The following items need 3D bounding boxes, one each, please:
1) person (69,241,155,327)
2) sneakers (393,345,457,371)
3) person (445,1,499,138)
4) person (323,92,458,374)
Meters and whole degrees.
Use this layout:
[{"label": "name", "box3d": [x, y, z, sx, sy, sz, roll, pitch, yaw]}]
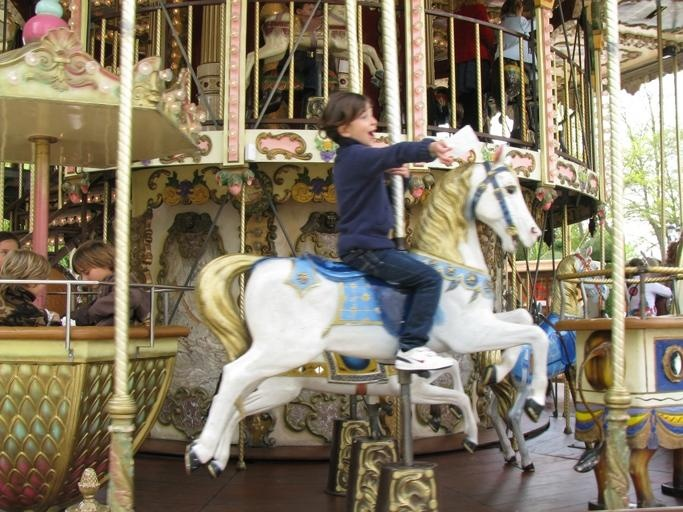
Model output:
[{"label": "person", "box3d": [-1.811, 0.218, 7.437, 0.597, 0.664, 0.876, 0, 0, -16]}, {"label": "sneakers", "box3d": [0.582, 0.708, 6.649, 0.410, 0.205, 0.165, -1, -3, 1]}, {"label": "person", "box3d": [1.485, -2.150, 10.676, 0.472, 1.504, 1.258, 0, 0, 9]}, {"label": "person", "box3d": [0.338, -0.193, 6.754, 0.948, 1.961, 0.427, 0, 0, 32]}]
